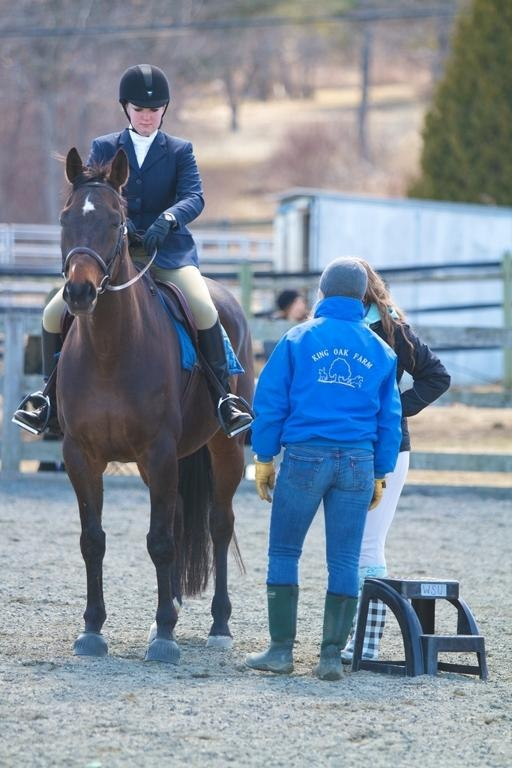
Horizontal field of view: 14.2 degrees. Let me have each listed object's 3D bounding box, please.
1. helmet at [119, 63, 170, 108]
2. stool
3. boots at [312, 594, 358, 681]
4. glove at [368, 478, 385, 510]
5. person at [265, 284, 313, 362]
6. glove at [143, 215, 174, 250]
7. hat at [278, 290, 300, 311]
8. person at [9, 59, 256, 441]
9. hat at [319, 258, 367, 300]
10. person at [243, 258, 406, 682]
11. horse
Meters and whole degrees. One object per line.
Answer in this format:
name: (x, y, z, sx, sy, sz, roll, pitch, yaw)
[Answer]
helmet: (-0.560, -1.459, 10.125, 0.160, 0.205, 0.242, -1, -10, -7)
stool: (0.764, 1.118, 9.549, 0.528, 0.511, 0.614, 2, -8, -13)
boots: (0.363, 1.123, 9.375, 0.165, 0.394, 0.151, 1, 3, -24)
glove: (0.561, 0.486, 9.561, 0.051, 0.168, 0.068, 10, 35, 3)
person: (0.336, -0.712, 19.095, 0.217, 0.523, 0.992, -3, 19, 7)
glove: (-0.484, -0.747, 10.017, 0.104, 0.206, 0.088, 26, -26, 19)
hat: (0.298, -0.826, 19.999, 0.190, 0.235, 0.186, -3, -5, 16)
person: (-0.579, -0.702, 10.226, 0.992, 1.926, 0.884, 1, -8, -5)
hat: (0.410, -0.495, 9.595, 0.142, 0.199, 0.219, 3, 14, 0)
person: (0.312, 0.366, 9.454, 0.652, 1.881, 0.345, 3, 3, 19)
horse: (-0.527, 0.059, 10.053, 0.785, 2.349, 1.539, 3, 3, 20)
